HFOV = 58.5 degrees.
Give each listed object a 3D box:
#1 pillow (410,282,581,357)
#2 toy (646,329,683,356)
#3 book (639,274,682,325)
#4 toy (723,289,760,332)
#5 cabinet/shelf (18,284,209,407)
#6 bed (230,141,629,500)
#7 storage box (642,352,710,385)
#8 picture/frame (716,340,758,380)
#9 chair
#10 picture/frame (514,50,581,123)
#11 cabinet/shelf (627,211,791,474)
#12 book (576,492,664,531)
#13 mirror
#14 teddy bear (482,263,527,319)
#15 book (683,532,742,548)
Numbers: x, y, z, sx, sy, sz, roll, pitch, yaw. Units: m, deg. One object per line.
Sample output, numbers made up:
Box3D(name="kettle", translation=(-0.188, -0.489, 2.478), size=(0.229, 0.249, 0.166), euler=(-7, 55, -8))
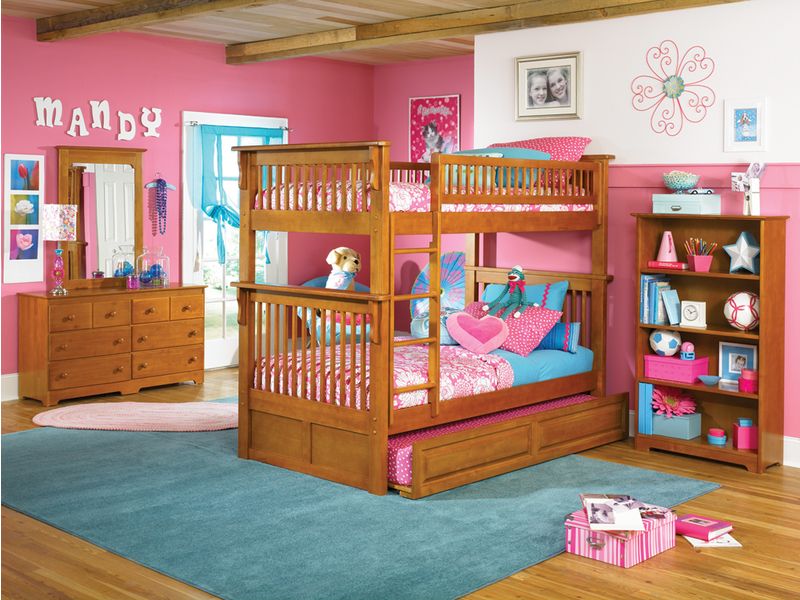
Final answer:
Box3D(name="pillow", translation=(0.876, 0.145, 5.281), size=(0.837, 0.277, 0.777), euler=(7, 10, 39))
Box3D(name="toy", translation=(1.854, 0.306, 5.091), size=(0.239, 0.187, 0.199), euler=(9, -7, -18))
Box3D(name="book", translation=(1.862, 0.002, 4.993), size=(0.150, 0.327, 0.295), euler=(-2, 5, 26))
Box3D(name="toy", translation=(2.315, 0.050, 4.739), size=(0.164, 0.165, 0.160), euler=(33, 57, 13))
Box3D(name="cabinet/shelf", translation=(-2.575, 0.407, 6.247), size=(1.276, 0.610, 0.447), euler=(-3, 4, -43))
Box3D(name="bed", translation=(0.398, 0.085, 5.188), size=(2.664, 1.802, 1.795), euler=(3, 5, -44))
Box3D(name="storage box", translation=(1.947, 0.480, 4.997), size=(0.251, 0.115, 0.318), euler=(-2, 3, -42))
Box3D(name="picture/frame", translation=(2.311, 0.414, 4.864), size=(0.297, 0.281, 0.026), euler=(13, 16, 43))
Box3D(name="chair", translation=(-0.619, 0.117, 6.387), size=(0.747, 0.469, 0.882), euler=(-1, 2, -21))
Box3D(name="picture/frame", translation=(1.178, -1.672, 5.654), size=(0.052, 0.478, 0.666), euler=(-15, 19, -34))
Box3D(name="cabinet/shelf", translation=(1.892, 0.205, 4.925), size=(1.199, 1.710, 0.513), euler=(4, -13, 31))
Box3D(name="book", translation=(1.032, 1.030, 3.445), size=(0.287, 0.108, 0.274), euler=(2, 7, 10))
Box3D(name="mirror", translation=(-2.725, -0.785, 6.551), size=(0.742, 1.199, 0.098), euler=(-5, 9, -37))
Box3D(name="teddy bear", translation=(0.832, -0.063, 5.372), size=(0.299, 0.342, 0.360), euler=(12, 20, 37))
Box3D(name="book", translation=(1.562, 1.201, 3.544), size=(0.253, 0.022, 0.118), euler=(0, 6, 0))
